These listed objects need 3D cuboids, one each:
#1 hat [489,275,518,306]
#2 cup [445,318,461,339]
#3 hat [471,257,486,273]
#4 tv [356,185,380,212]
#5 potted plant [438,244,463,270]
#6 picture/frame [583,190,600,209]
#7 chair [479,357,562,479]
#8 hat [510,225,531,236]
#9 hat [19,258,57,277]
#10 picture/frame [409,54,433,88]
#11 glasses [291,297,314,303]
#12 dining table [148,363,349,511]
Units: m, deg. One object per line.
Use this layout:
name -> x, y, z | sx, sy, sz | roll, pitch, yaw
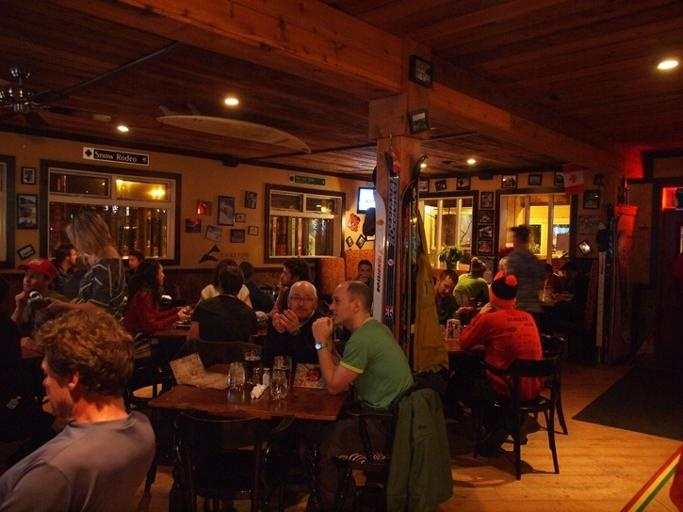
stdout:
hat -> 1.592, 0.346, 5.505 | 0.243, 0.250, 0.323 | 5, -12, 6
cup -> 1.234, 0.806, 6.152 | 0.128, 0.209, 0.211 | -1, -5, 31
hat -> 1.865, 0.130, 7.689 | 0.157, 0.181, 0.289 | 4, 8, 17
tv -> 0.564, -1.271, 12.583 | 0.369, 0.609, 0.354 | -1, 8, -22
potted plant -> 1.533, 0.012, 8.243 | 0.385, 0.376, 0.395 | 1, 0, 28
picture/frame -> 4.464, -1.016, 10.005 | 0.044, 0.439, 0.315 | 2, 6, -33
chair -> 1.862, 1.508, 5.399 | 0.716, 0.941, 0.708 | 2, -11, -13
hat -> 2.506, -0.359, 7.852 | 0.293, 0.126, 0.422 | 0, 2, 28
hat -> -2.862, 0.131, 5.321 | 0.177, 0.138, 0.254 | 5, -19, 36
picture/frame -> 0.696, -1.649, 4.987 | 0.109, 0.287, 0.348 | -1, -1, 42
glasses -> -0.335, 0.370, 4.811 | 0.195, 0.049, 0.054 | 1, 8, -9
dining table -> -0.657, 1.119, 4.039 | 1.051, 0.646, 1.067 | 1, -2, 14
